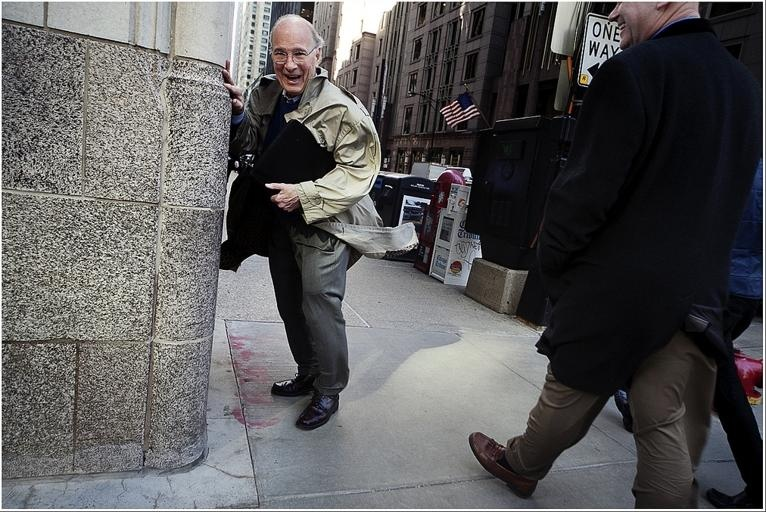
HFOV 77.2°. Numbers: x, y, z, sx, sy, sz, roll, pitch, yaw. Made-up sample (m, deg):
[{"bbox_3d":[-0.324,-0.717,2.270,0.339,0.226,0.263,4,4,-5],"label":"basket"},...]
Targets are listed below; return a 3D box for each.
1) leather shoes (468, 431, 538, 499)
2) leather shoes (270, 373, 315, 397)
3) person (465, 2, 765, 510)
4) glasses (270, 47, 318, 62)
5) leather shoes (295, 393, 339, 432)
[{"bbox_3d":[0.690,1.254,2.994,0.492,0.202,0.182,42,41,23],"label":"leather shoes"},{"bbox_3d":[-0.670,0.984,3.700,0.372,0.150,0.147,5,1,-14],"label":"leather shoes"},{"bbox_3d":[1.378,0.114,2.569,1.047,2.787,0.944,21,25,40],"label":"person"},{"bbox_3d":[-0.570,-1.331,3.199,0.315,0.125,0.140,-1,19,-16],"label":"glasses"},{"bbox_3d":[-0.449,1.069,3.336,0.139,0.161,0.338,13,6,27],"label":"leather shoes"}]
